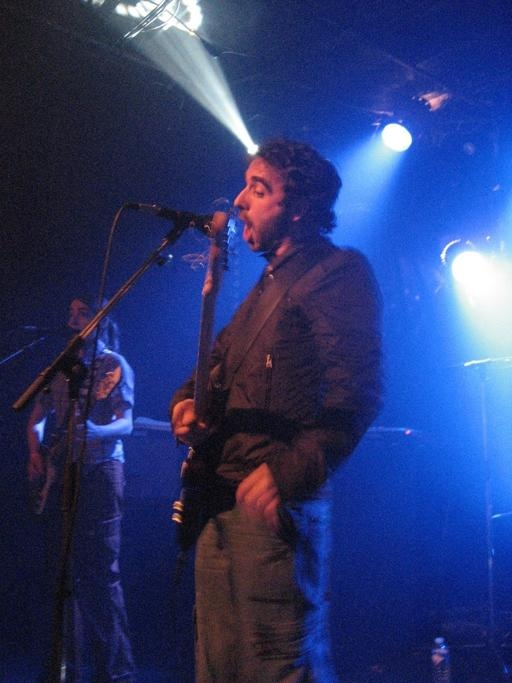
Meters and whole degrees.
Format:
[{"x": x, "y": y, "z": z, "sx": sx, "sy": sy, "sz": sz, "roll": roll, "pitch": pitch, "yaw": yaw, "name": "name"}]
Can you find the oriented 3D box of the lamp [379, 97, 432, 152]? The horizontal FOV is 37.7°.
[{"x": 0.707, "y": -0.998, "z": 3.512, "sx": 0.066, "sy": 0.196, "sz": 0.272, "roll": -21, "pitch": -33, "yaw": -57, "name": "lamp"}]
